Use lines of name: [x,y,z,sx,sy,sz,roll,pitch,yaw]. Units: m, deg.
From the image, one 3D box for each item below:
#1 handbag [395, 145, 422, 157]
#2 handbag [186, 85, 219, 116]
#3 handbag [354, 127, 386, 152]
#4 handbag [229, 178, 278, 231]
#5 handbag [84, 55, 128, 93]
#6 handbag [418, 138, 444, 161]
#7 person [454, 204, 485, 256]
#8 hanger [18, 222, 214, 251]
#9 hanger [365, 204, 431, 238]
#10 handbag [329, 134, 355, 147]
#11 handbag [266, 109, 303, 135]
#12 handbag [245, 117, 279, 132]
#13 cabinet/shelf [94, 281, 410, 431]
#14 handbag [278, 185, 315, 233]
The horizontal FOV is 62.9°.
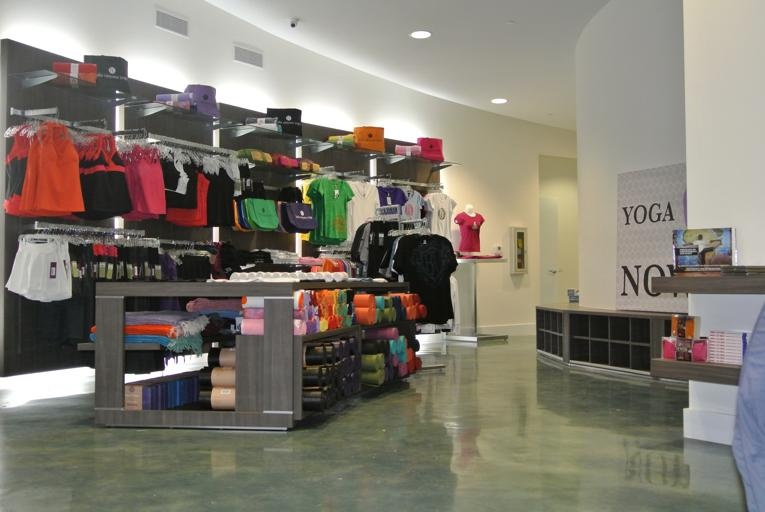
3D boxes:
handbag: [0.371,-1.642,9.740,0.451,0.192,0.215,-2,5,-25]
handbag: [-2.138,-1.820,7.520,0.344,0.387,0.403,6,6,40]
handbag: [-0.192,-1.700,9.095,0.565,0.407,0.327,1,7,-6]
handbag: [-1.625,-0.620,7.685,0.406,0.699,0.666,-5,-5,31]
handbag: [-2.943,-1.920,6.597,0.403,0.374,0.227,1,2,-22]
handbag: [0.733,-1.687,9.909,0.388,0.298,0.344,2,6,-4]
person: [1.428,-0.459,10.567,0.507,0.805,0.356,-1,4,-7]
hanger: [-2.925,-0.210,6.913,0.365,0.368,1.963,4,6,44]
hanger: [0.217,-0.473,8.708,0.497,0.274,0.660,0,1,32]
handbag: [-0.613,-1.678,8.924,0.343,0.192,0.554,1,4,10]
handbag: [-1.320,-1.772,8.242,0.346,0.319,0.133,2,-10,-19]
handbag: [-1.534,-1.686,7.956,0.287,0.102,0.172,1,1,-5]
cabinet/shelf: [-1.440,0.861,5.261,1.169,0.777,1.752,-1,-3,15]
handbag: [-1.146,-0.601,8.156,0.404,0.700,0.555,-13,-12,43]
